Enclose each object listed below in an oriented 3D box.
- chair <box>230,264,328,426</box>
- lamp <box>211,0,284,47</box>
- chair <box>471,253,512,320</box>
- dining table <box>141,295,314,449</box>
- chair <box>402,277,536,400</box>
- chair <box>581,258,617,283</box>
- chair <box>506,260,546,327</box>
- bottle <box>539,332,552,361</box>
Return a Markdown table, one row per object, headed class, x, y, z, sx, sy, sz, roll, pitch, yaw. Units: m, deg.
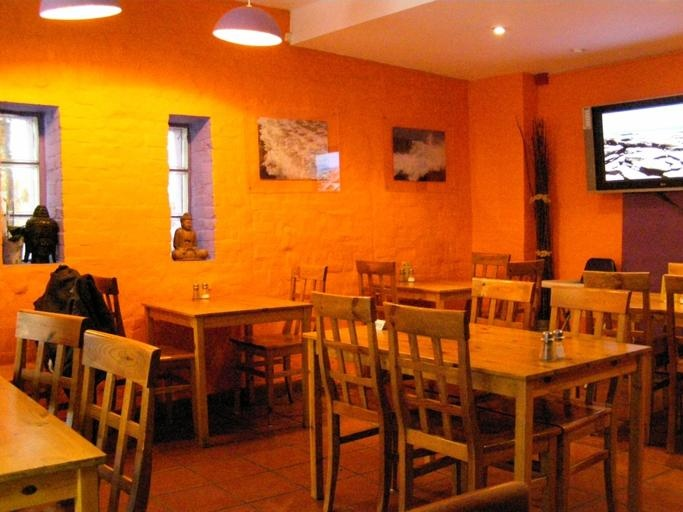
| class | x | y | z | sx | sy | sz | roll | pitch | yaw |
| --- | --- | --- | --- | --- | --- | --- | --- | --- | --- |
| chair | -0.530 | 0.688 | 4.739 | 0.732 | 1.089 | 0.620 | -1 | 1 | -29 |
| lamp | -0.624 | -1.563 | 3.795 | 0.385 | 0.214 | 0.330 | -4 | 4 | -38 |
| chair | 1.531 | 0.147 | 5.898 | 0.434 | 0.444 | 0.663 | 8 | 47 | 8 |
| dining table | -0.964 | 0.669 | 4.604 | 1.249 | 0.867 | 1.250 | -6 | 8 | 11 |
| chair | 0.681 | 0.436 | 2.990 | 0.502 | 0.355 | 0.731 | 0 | 0 | -37 |
| chair | 2.254 | 0.123 | 4.931 | 0.247 | 0.323 | 0.280 | 0 | -6 | 30 |
| chair | 1.557 | 0.384 | 5.023 | 0.474 | 0.607 | 0.452 | 0 | 1 | 10 |
| bottle | 0.929 | 0.400 | 2.554 | 0.045 | 0.122 | 0.152 | 0 | 4 | 20 |
